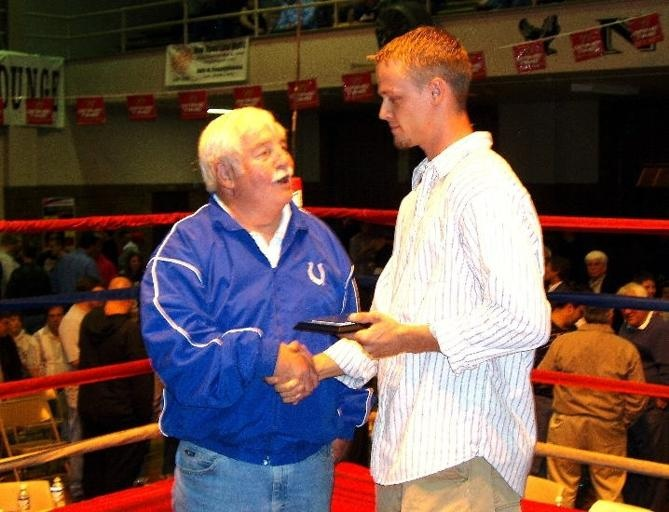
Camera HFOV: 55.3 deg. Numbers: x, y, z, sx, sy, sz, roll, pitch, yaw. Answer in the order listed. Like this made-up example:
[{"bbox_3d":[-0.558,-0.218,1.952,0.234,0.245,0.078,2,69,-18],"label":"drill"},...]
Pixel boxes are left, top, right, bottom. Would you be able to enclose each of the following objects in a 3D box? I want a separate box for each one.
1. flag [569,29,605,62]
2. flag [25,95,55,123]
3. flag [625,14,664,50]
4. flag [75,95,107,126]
[{"bbox_3d":[2.837,-2.353,7.107,0.321,0.316,0.186,-2,5,24],"label":"flag"},{"bbox_3d":[-4.793,-2.361,10.342,0.480,0.485,0.050,-1,8,-26],"label":"flag"},{"bbox_3d":[3.399,-2.428,6.941,0.324,0.324,0.539,-2,5,23],"label":"flag"},{"bbox_3d":[-3.935,-2.354,10.318,0.628,0.426,0.265,1,6,43],"label":"flag"}]
